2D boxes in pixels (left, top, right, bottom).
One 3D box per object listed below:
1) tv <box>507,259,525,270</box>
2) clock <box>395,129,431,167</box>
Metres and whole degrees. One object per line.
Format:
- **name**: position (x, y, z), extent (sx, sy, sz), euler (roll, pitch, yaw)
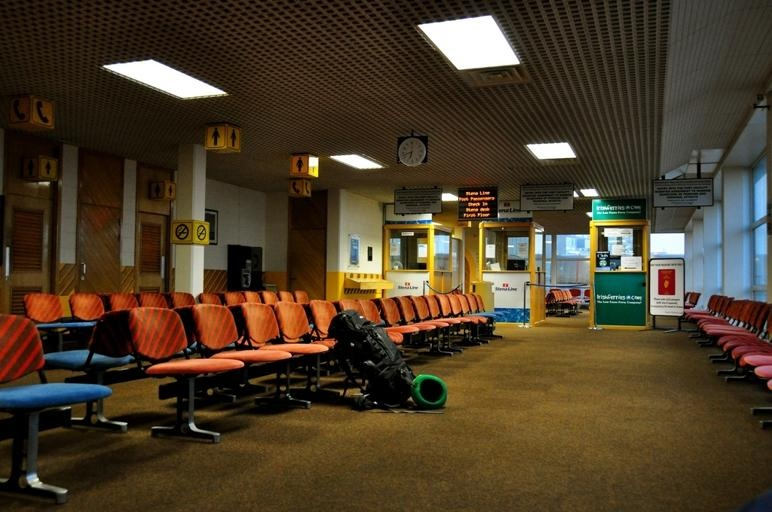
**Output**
- **tv**: position (3.549, 0.237, 15.719), extent (0.544, 0.326, 0.287), euler (2, 3, 23)
- **clock**: position (0.453, -1.884, 9.924), extent (0.608, 0.601, 0.117), euler (-2, -7, 20)
